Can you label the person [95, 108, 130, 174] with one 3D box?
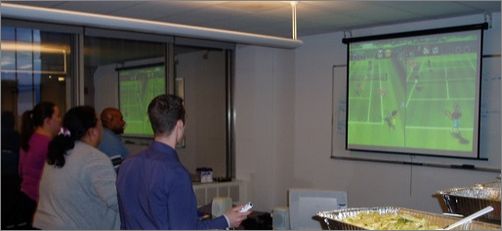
[{"bbox_3d":[-2.918,0.416,6.772,0.706,1.006,1.355,-4,11,-35],"label":"person"}]
